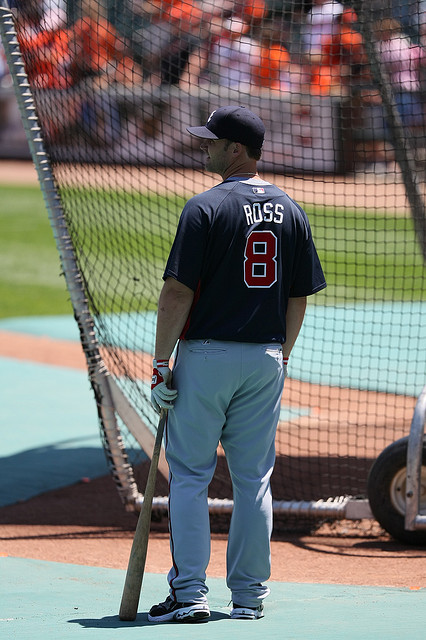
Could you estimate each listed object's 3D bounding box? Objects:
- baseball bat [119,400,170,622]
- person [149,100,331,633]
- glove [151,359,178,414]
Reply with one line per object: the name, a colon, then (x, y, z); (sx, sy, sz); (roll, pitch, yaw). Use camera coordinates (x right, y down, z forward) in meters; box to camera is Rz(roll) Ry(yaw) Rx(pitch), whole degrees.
baseball bat: (-0.238, 0.678, 3.106); (0.109, 1.091, 0.090); (-11, 43, -28)
person: (0.036, 0.131, 3.050); (0.482, 1.638, 0.827); (2, 12, 19)
glove: (-0.168, 0.216, 3.066); (0.053, 0.153, 0.110); (4, 52, 8)
